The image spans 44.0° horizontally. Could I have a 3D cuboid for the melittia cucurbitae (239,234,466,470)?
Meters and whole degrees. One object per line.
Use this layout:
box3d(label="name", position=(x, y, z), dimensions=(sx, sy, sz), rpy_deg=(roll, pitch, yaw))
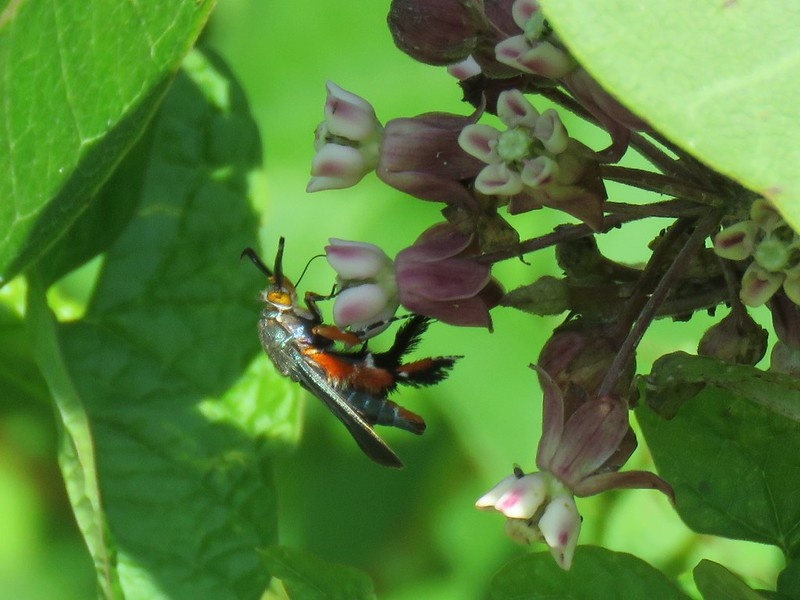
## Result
box3d(label="melittia cucurbitae", position=(-0.069, 0.060, 0.994), dimensions=(0.257, 0.177, 0.083), rpy_deg=(29, -63, 2))

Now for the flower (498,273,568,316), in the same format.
box3d(label="flower", position=(0.115, 0.004, 0.796), dimensions=(0.074, 0.016, 0.037), rpy_deg=(0, -70, -30))

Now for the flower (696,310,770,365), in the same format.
box3d(label="flower", position=(0.262, 0.024, 0.797), dimensions=(0.048, 0.020, 0.054), rpy_deg=(-29, -59, 4))

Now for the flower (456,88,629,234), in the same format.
box3d(label="flower", position=(0.097, -0.100, 0.743), dimensions=(0.169, 0.062, 0.094), rpy_deg=(4, -82, -51))

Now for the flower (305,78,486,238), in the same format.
box3d(label="flower", position=(-0.003, -0.122, 0.809), dimensions=(0.162, 0.063, 0.123), rpy_deg=(-3, -16, -17))

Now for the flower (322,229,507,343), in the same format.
box3d(label="flower", position=(0.011, -0.019, 0.823), dimensions=(0.159, 0.120, 0.056), rpy_deg=(-10, -79, -13))

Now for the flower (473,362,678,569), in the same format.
box3d(label="flower", position=(0.122, 0.129, 0.722), dimensions=(0.116, 0.121, 0.081), rpy_deg=(-32, -56, 31))
